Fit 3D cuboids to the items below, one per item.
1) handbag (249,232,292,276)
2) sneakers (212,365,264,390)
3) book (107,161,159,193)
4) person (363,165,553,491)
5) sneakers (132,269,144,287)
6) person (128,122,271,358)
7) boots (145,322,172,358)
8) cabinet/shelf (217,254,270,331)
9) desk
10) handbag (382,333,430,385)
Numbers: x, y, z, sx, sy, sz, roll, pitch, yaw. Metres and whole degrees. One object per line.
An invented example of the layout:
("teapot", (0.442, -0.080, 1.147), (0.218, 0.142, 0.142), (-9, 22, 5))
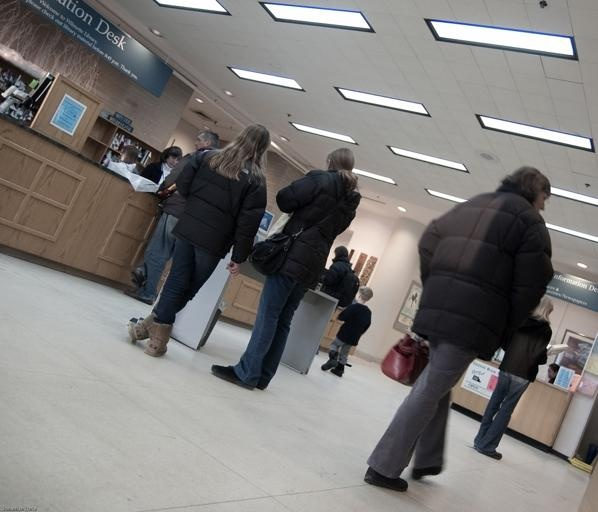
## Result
("handbag", (-0.166, -0.002, 2.669), (0.280, 0.323, 0.177), (-4, -6, 15))
("sneakers", (-0.445, 0.865, 2.757), (0.369, 0.134, 0.143), (17, -11, -6))
("book", (-2.135, -0.997, 4.770), (0.475, 0.135, 0.432), (28, -4, 17))
("person", (0.808, 0.402, 1.945), (0.674, 1.427, 0.289), (20, -6, 32))
("sneakers", (-2.008, 0.276, 4.594), (0.105, 0.111, 0.262), (42, -19, 17))
("person", (-0.683, -0.156, 2.705), (0.690, 1.853, 0.359), (24, -5, -7))
("boots", (-1.033, 0.579, 2.632), (0.095, 0.204, 0.302), (18, 4, -15))
("cabinet/shelf", (-1.009, 0.768, 6.511), (0.817, 0.789, 0.480), (25, -28, -17))
("desk", (-0.412, 0.652, 4.305), (1.727, 1.122, 0.909), (34, -5, -40))
("handbag", (0.748, 0.689, 2.425), (0.354, 0.349, 0.202), (17, -1, -41))
